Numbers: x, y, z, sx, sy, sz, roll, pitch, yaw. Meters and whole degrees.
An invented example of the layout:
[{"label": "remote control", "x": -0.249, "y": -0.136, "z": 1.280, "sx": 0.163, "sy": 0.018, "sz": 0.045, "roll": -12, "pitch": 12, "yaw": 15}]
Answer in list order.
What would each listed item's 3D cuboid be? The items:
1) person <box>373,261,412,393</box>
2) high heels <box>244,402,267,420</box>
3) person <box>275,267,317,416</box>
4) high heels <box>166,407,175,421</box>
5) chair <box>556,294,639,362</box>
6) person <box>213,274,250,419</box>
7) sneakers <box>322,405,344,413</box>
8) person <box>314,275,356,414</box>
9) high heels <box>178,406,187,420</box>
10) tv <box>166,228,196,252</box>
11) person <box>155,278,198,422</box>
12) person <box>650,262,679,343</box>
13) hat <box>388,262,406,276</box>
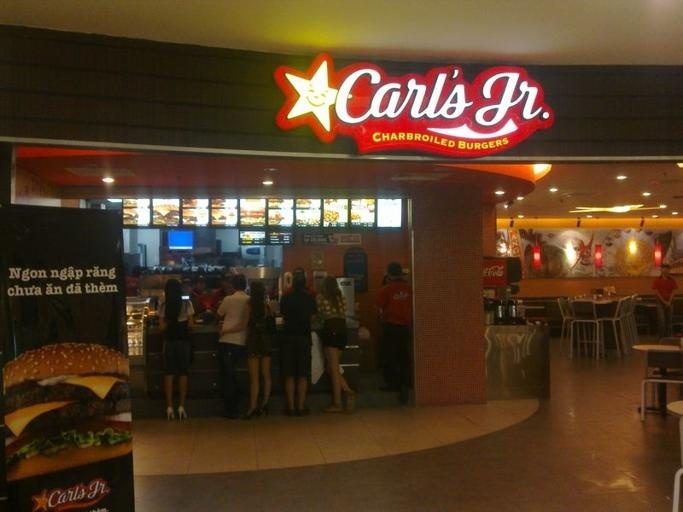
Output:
[{"label": "person", "x": 0.727, "y": 1.131, "z": 8.902, "sx": 0.466, "sy": 1.577, "sz": 0.251, "roll": 0, "pitch": 2, "yaw": 3}, {"label": "high heels", "x": -1.081, "y": 1.961, "z": 8.250, "sx": 0.310, "sy": 0.125, "sz": 0.111, "roll": 4, "pitch": -8, "yaw": -33}, {"label": "person", "x": -0.559, "y": 1.115, "z": 8.342, "sx": 0.448, "sy": 1.777, "sz": 0.401, "roll": 0, "pitch": 2, "yaw": -6}, {"label": "high heels", "x": -2.141, "y": 1.970, "z": 8.149, "sx": 0.062, "sy": 0.199, "sz": 0.082, "roll": -4, "pitch": -3, "yaw": 35}, {"label": "chair", "x": 5.538, "y": 1.471, "z": 13.861, "sx": 1.240, "sy": 1.173, "sz": 2.487, "roll": 1, "pitch": 2, "yaw": 27}, {"label": "person", "x": -1.372, "y": 1.124, "z": 8.264, "sx": 0.392, "sy": 1.777, "sz": 0.425, "roll": 0, "pitch": 2, "yaw": -10}, {"label": "sneakers", "x": -0.105, "y": 1.955, "z": 8.420, "sx": 0.262, "sy": 0.115, "sz": 0.090, "roll": 3, "pitch": -2, "yaw": 8}, {"label": "person", "x": -0.073, "y": 1.139, "z": 8.495, "sx": 0.474, "sy": 1.736, "sz": 0.383, "roll": 0, "pitch": 2, "yaw": -1}, {"label": "high heels", "x": -1.991, "y": 1.972, "z": 8.167, "sx": 0.064, "sy": 0.089, "sz": 0.203, "roll": 0, "pitch": 5, "yaw": -8}, {"label": "tv", "x": -2.768, "y": -0.279, "z": 11.437, "sx": 0.608, "sy": 0.535, "sz": 0.330, "roll": 2, "pitch": -11, "yaw": -8}, {"label": "person", "x": -2.054, "y": 1.165, "z": 8.135, "sx": 0.374, "sy": 1.750, "sz": 0.251, "roll": 0, "pitch": 2, "yaw": -14}, {"label": "person", "x": 7.299, "y": 1.001, "z": 14.713, "sx": 0.436, "sy": 1.681, "sz": 0.885, "roll": 1, "pitch": 2, "yaw": 26}, {"label": "hat", "x": 0.759, "y": 0.178, "z": 9.067, "sx": 0.154, "sy": 0.193, "sz": 0.203, "roll": -5, "pitch": -13, "yaw": -10}]
